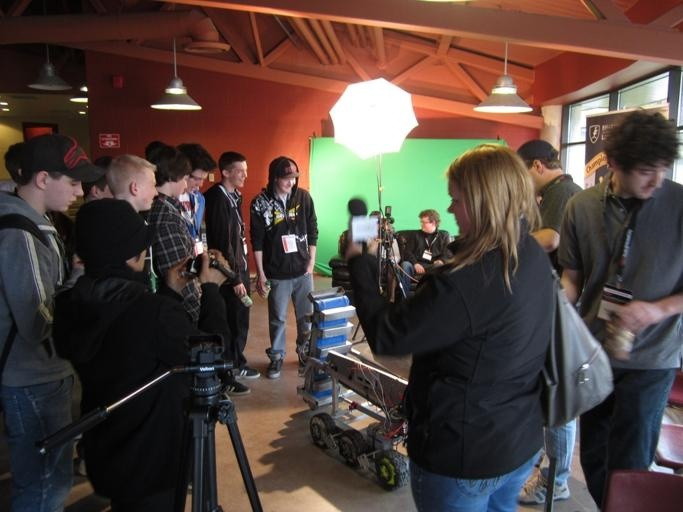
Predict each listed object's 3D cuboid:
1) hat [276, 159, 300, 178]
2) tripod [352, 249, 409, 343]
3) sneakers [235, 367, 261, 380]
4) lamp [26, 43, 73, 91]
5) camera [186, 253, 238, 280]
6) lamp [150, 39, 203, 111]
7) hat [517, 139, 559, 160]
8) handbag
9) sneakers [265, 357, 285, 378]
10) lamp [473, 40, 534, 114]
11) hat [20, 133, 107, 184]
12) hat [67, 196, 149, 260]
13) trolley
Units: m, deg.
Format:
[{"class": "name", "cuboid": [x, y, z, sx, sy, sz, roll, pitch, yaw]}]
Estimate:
[{"class": "hat", "cuboid": [-0.480, -0.770, 4.969, 0.132, 0.117, 0.176, -22, 29, -38]}, {"class": "tripod", "cuboid": [0.160, 0.167, 2.175, 0.244, 0.310, 0.089, -6, -17, 39]}, {"class": "sneakers", "cuboid": [-0.828, 1.033, 4.994, 0.276, 0.133, 0.106, 0, 3, -13]}, {"class": "lamp", "cuboid": [-4.016, -2.541, 7.687, 0.534, 0.442, 0.560, -3, 12, -9]}, {"class": "camera", "cuboid": [-0.596, 0.049, 2.575, 0.201, 0.099, 0.116, 19, 9, -6]}, {"class": "lamp", "cuboid": [-2.127, -2.383, 7.077, 0.548, 0.966, 0.586, 4, 10, -1]}, {"class": "hat", "cuboid": [1.248, -0.660, 3.570, 0.217, 0.137, 0.166, 12, 14, 33]}, {"class": "handbag", "cuboid": [0.874, 0.354, 2.390, 0.326, 0.674, 0.300, 6, 35, 12]}, {"class": "sneakers", "cuboid": [-0.589, 1.002, 5.083, 0.120, 0.157, 0.291, 4, 13, 18]}, {"class": "lamp", "cuboid": [1.784, -1.947, 6.088, 0.608, 0.695, 0.641, -7, 13, -24]}, {"class": "hat", "cuboid": [-1.389, -0.481, 2.773, 0.383, 0.217, 0.243, -3, 4, -27]}, {"class": "hat", "cuboid": [-0.972, -0.111, 2.393, 0.334, 0.288, 0.248, -9, 4, -44]}, {"class": "trolley", "cuboid": [0.141, 0.831, 3.965, 1.095, 0.914, 0.830, 15, 22, 40]}]
